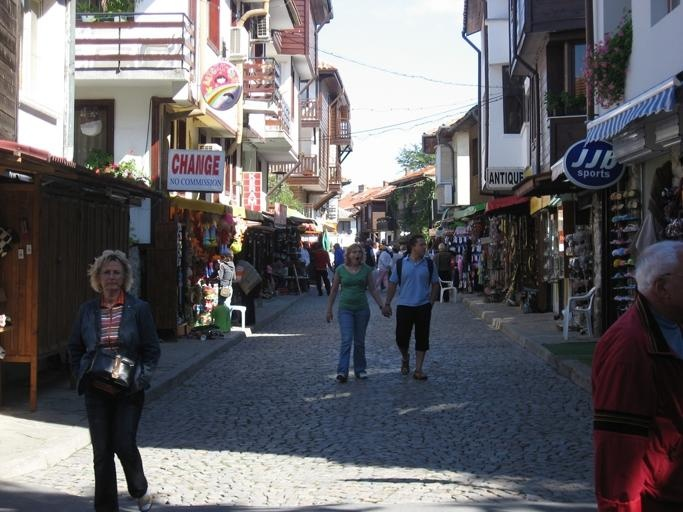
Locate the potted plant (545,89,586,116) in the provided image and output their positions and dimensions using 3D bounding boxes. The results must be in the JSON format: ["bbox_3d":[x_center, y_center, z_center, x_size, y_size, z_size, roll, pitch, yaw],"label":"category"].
[{"bbox_3d":[5.087,-3.456,18.154,0.524,0.481,0.718,1,-1,15],"label":"potted plant"}]

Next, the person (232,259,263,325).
[{"bbox_3d":[-2.310,0.782,18.209,0.907,1.506,0.759,-1,-7,-28],"label":"person"}]

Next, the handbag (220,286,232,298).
[{"bbox_3d":[-2.580,0.797,17.649,0.238,0.267,0.349,-1,1,-10],"label":"handbag"}]

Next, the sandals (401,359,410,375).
[{"bbox_3d":[0.969,1.705,12.218,0.084,0.276,0.107,-1,7,3],"label":"sandals"}]

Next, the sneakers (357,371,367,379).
[{"bbox_3d":[0.302,1.771,11.905,0.173,0.101,0.191,-1,1,-6],"label":"sneakers"}]

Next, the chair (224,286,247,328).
[{"bbox_3d":[-2.456,1.156,18.117,0.518,1.008,1.903,-1,1,-7],"label":"chair"}]

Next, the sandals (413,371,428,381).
[{"bbox_3d":[1.163,1.755,11.767,0.208,0.126,0.255,-1,1,6],"label":"sandals"}]

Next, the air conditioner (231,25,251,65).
[{"bbox_3d":[-3.071,-6.290,23.657,0.549,1.180,1.147,-1,1,-8],"label":"air conditioner"}]

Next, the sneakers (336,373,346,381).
[{"bbox_3d":[0.001,1.772,11.631,0.168,0.118,0.240,-1,1,-1],"label":"sneakers"}]
